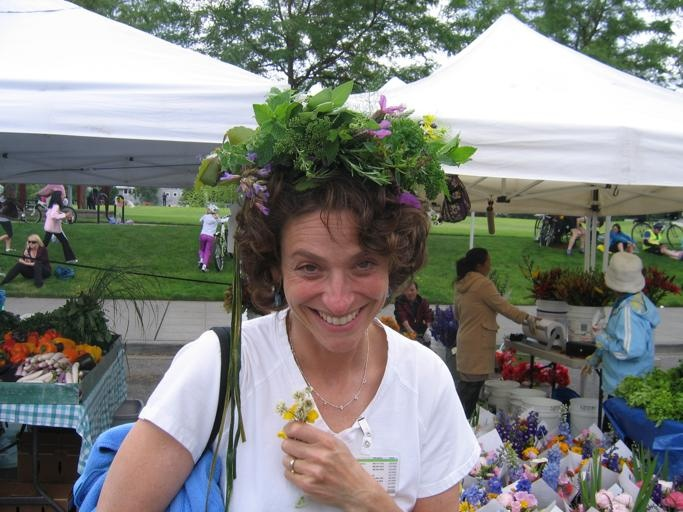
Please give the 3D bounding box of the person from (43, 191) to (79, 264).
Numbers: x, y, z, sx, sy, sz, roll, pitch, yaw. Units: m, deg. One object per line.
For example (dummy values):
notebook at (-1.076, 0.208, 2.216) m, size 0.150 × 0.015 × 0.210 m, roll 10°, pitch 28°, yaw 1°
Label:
person at (-6.887, -0.684, 14.897) m, size 1.072 × 1.722 × 0.717 m, roll 4°, pitch 10°, yaw -5°

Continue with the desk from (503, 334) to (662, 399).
desk at (2.480, 1.109, 6.783) m, size 1.166 × 0.739 × 1.406 m, roll 1°, pitch 13°, yaw -39°

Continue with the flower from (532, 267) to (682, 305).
flower at (2.478, 0.316, 6.403) m, size 0.726 × 0.278 × 0.779 m, roll 2°, pitch -3°, yaw -33°

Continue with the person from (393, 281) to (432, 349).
person at (0.925, 0.832, 7.483) m, size 0.401 × 1.012 × 0.569 m, roll -9°, pitch 11°, yaw 0°

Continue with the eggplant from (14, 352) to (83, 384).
eggplant at (-2.244, 0.852, 4.750) m, size 0.508 × 0.153 × 0.475 m, roll 2°, pitch 3°, yaw -6°

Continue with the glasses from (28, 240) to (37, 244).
glasses at (-6.185, -0.290, 12.410) m, size 0.145 × 0.074 × 0.220 m, roll 1°, pitch 3°, yaw -27°

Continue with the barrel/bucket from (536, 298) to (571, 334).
barrel/bucket at (2.248, 0.610, 6.565) m, size 0.290 × 0.304 × 0.297 m, roll 0°, pitch 2°, yaw 0°

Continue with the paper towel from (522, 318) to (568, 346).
paper towel at (2.101, 0.782, 6.362) m, size 0.263 × 0.260 × 0.398 m, roll 5°, pitch -7°, yaw -21°

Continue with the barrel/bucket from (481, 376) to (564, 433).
barrel/bucket at (1.618, 1.330, 5.762) m, size 0.551 × 0.758 × 0.520 m, roll 2°, pitch 3°, yaw 0°

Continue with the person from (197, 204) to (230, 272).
person at (-3.209, -0.496, 15.302) m, size 0.723 × 1.649 × 0.881 m, roll 9°, pitch 7°, yaw -4°

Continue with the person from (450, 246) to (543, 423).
person at (1.429, 0.715, 6.789) m, size 0.933 × 1.857 × 0.985 m, roll 9°, pitch 11°, yaw -12°

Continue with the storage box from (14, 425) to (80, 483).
storage box at (-2.339, 1.590, 4.979) m, size 0.487 × 0.313 × 0.488 m, roll 4°, pitch -4°, yaw -19°
